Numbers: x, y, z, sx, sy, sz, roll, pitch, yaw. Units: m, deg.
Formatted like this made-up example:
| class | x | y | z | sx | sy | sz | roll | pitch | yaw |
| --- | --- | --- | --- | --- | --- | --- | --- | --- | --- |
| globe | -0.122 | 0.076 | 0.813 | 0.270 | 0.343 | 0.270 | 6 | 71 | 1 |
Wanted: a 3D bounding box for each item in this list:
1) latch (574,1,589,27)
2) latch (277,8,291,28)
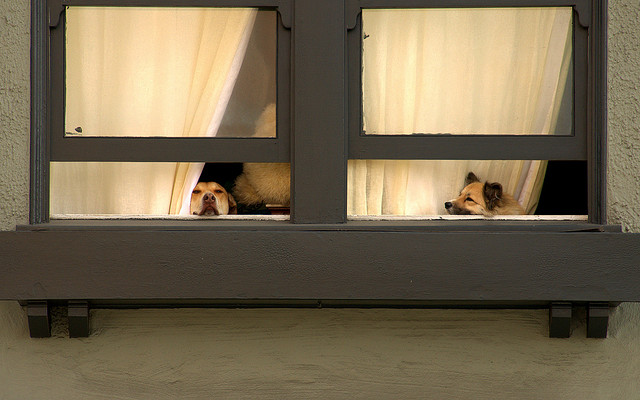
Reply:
| class | x | y | z | sx | sy | sz | roll | pitch | yaw |
| --- | --- | --- | --- | --- | --- | --- | --- | --- | --- |
| latch | 2.213 | -1.601 | 7.976 | 0.196 | 0.219 | 0.057 | 0 | 3 | 14 |
| latch | -0.291 | -1.558 | 8.010 | 0.154 | 0.126 | 0.038 | 1 | 2 | 3 |
